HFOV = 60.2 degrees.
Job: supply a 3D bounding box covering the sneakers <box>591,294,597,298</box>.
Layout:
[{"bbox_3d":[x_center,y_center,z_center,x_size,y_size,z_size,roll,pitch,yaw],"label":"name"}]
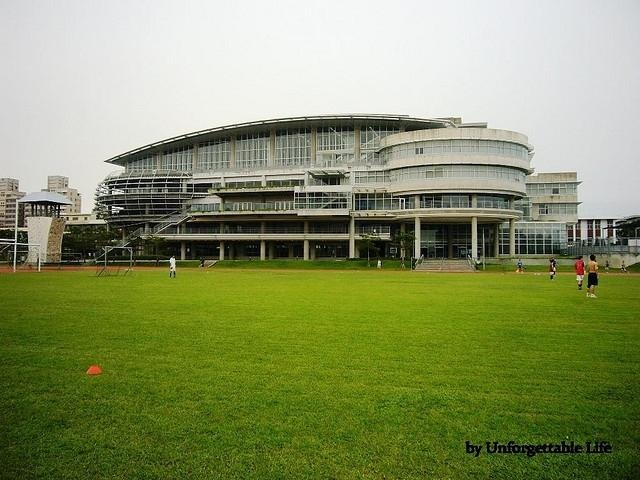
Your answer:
[{"bbox_3d":[12.194,2.466,24.604,0.454,0.200,0.151,0,0,-30],"label":"sneakers"}]
